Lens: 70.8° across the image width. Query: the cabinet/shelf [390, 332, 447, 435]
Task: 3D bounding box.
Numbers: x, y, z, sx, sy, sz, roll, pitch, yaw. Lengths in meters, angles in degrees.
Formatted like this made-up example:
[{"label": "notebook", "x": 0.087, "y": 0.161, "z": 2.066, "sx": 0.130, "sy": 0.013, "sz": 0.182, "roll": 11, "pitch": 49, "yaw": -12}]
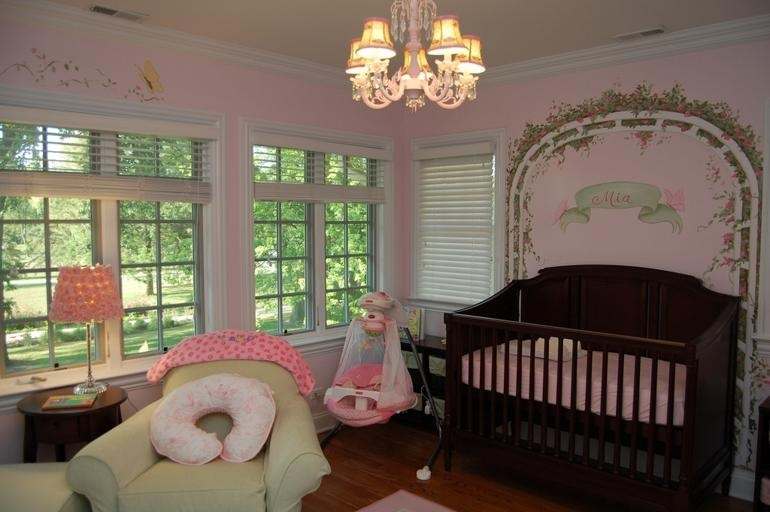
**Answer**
[{"label": "cabinet/shelf", "x": 0.313, "y": 1.135, "z": 5.035, "sx": 0.203, "sy": 0.463, "sz": 0.523, "roll": 19, "pitch": -19, "yaw": -12}]
